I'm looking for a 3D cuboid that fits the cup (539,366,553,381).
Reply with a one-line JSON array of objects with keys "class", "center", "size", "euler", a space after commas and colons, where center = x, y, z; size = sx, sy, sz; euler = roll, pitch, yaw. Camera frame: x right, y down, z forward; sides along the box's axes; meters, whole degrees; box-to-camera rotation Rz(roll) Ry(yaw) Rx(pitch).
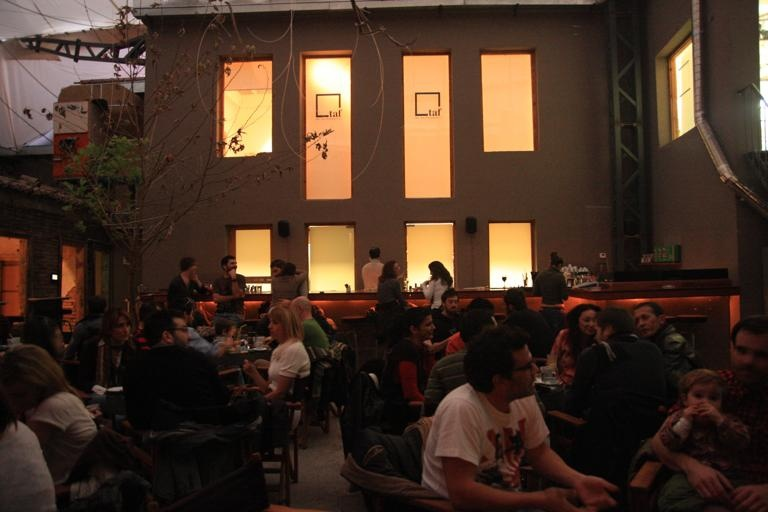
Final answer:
[{"class": "cup", "center": [1.822, 1.329, 7.709], "size": [0.175, 0.171, 0.141], "euler": [1, 2, 37]}]
